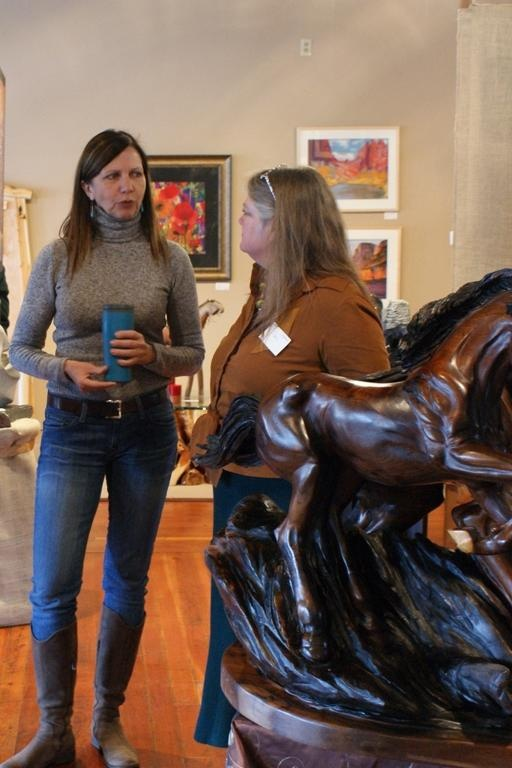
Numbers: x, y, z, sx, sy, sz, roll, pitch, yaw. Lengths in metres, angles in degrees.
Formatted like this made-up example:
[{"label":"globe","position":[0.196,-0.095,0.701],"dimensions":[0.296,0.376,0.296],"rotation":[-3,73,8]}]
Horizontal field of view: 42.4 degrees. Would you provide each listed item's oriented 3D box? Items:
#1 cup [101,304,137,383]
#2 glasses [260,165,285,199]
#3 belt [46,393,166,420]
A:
[{"label":"cup","position":[-0.324,-0.092,1.537],"dimensions":[0.066,0.181,0.063],"rotation":[3,4,0]},{"label":"glasses","position":[0.026,-0.417,1.371],"dimensions":[0.024,0.072,0.077],"rotation":[-5,9,9]},{"label":"belt","position":[-0.382,0.053,1.750],"dimensions":[0.321,0.067,0.136],"rotation":[1,4,-16]}]
